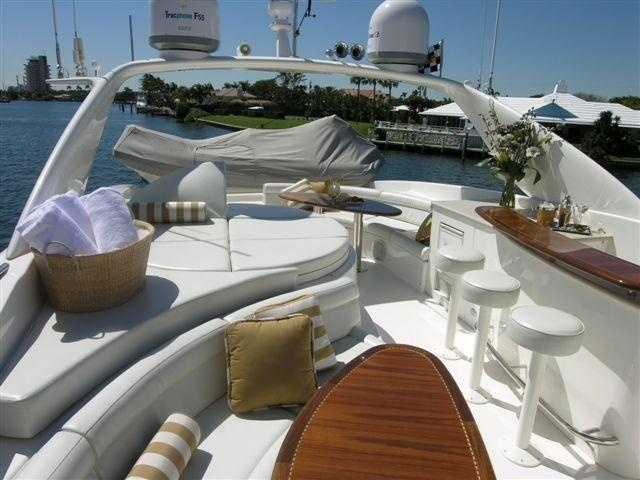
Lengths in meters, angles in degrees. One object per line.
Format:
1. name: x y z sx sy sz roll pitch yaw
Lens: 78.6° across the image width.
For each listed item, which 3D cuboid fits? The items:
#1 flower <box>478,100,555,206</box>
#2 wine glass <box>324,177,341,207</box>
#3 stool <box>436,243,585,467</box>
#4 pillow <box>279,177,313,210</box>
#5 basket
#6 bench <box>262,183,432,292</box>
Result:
1. flower: 1.750 -0.751 3.508 0.428 1.051 0.470 3 10 -17
2. wine glass: 0.110 -0.541 4.339 0.177 0.291 0.283 3 18 -4
3. stool: 1.073 0.633 2.243 0.570 1.112 0.592 0 17 -8
4. pillow: -0.336 -0.665 5.488 0.436 0.440 0.146 -26 2 -19
5. basket: -1.149 0.111 2.016 0.468 0.296 0.447 5 10 6
6. bench: 0.639 -0.075 4.527 1.617 1.318 1.731 -2 12 -33
